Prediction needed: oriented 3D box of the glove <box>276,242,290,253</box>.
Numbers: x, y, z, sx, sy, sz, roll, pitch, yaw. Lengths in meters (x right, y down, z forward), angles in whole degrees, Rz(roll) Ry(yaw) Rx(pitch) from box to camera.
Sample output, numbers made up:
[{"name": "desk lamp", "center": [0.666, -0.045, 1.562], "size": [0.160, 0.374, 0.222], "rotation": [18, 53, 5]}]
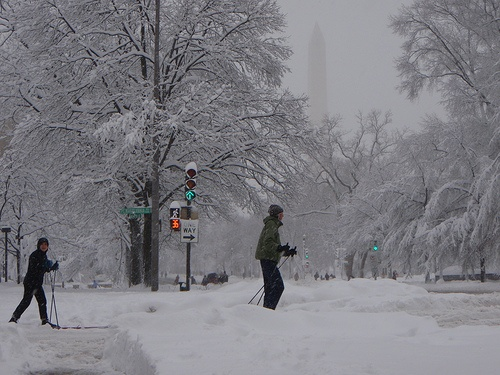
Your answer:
[{"name": "glove", "center": [1.084, 1.905, 30.465], "size": [0.398, 0.402, 0.558], "rotation": [0, 8, 10]}]

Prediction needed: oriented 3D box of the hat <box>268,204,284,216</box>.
[{"name": "hat", "center": [0.827, 0.693, 30.748], "size": [0.397, 0.382, 0.333], "rotation": [-24, 11, -8]}]

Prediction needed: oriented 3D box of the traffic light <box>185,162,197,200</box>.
[{"name": "traffic light", "center": [-2.361, -0.282, 36.453], "size": [0.421, 1.582, 0.491], "rotation": [-2, 8, -8]}]

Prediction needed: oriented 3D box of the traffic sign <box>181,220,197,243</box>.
[{"name": "traffic sign", "center": [-2.455, 1.673, 36.624], "size": [0.746, 1.130, 0.103], "rotation": [-1, -3, -4]}]

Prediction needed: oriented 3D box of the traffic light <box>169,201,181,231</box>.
[{"name": "traffic light", "center": [-3.013, 1.098, 37.123], "size": [0.423, 1.081, 0.729], "rotation": [-1, 8, -5]}]
